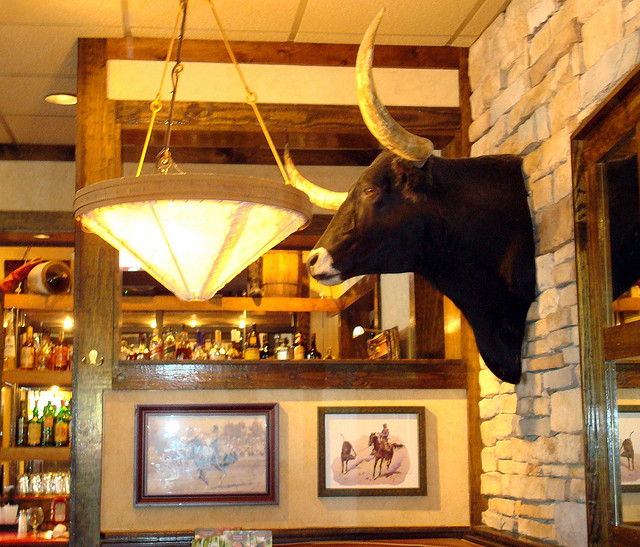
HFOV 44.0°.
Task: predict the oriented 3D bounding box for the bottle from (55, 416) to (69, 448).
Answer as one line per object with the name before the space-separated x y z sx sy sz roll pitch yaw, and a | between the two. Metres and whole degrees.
bottle | -1.781 1.093 5.485 0.099 0.179 0.215 4 -2 -14

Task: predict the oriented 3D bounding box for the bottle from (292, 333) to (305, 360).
bottle | -0.137 0.484 5.227 0.075 0.117 0.222 4 -2 -2

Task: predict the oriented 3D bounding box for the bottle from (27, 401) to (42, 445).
bottle | -1.972 1.069 5.488 0.090 0.246 0.308 4 -2 -20

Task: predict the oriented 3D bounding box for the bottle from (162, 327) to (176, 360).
bottle | -0.846 0.402 4.458 0.054 0.224 0.060 -3 -54 -2
